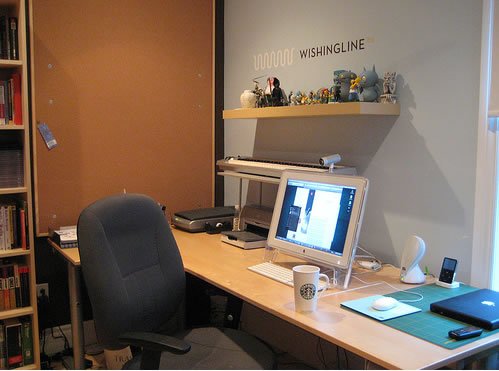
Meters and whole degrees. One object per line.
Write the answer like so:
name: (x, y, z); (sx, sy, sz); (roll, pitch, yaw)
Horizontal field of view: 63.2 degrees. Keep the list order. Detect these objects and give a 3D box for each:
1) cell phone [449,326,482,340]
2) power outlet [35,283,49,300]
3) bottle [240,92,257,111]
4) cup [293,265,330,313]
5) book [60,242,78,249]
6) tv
cell phone: (0.857, 0.573, 1.607); (0.098, 0.025, 0.057); (-3, 1, -24)
power outlet: (-1.517, 0.775, 2.973); (0.031, 0.127, 0.106); (2, -1, 45)
bottle: (-0.005, -0.610, 2.932); (0.113, 0.122, 0.118); (4, 9, 24)
cup: (0.284, 0.478, 1.827); (0.167, 0.182, 0.113); (1, -10, -1)
book: (-1.167, 0.389, 2.606); (0.061, 0.019, 0.067); (0, 5, -15)
tv: (0.352, 0.208, 2.221); (0.537, 0.548, 0.214); (9, 9, 39)
